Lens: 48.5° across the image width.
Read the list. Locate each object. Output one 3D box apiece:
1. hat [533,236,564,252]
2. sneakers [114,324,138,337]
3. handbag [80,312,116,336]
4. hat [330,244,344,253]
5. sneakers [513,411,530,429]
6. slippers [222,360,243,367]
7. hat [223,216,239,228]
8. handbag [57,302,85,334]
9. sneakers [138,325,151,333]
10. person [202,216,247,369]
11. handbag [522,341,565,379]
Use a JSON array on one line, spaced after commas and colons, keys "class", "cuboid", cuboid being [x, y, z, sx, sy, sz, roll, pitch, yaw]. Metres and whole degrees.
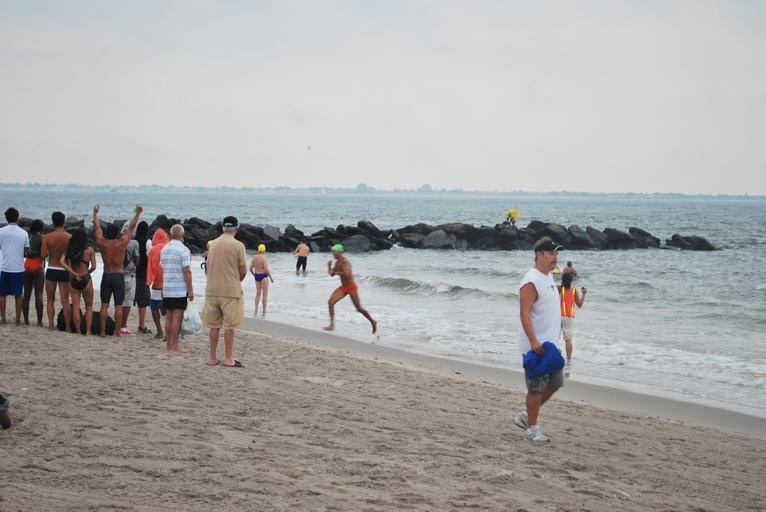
[{"class": "hat", "cuboid": [2.321, -0.172, 11.990, 0.358, 0.176, 0.224, 3, 5, 38]}, {"class": "sneakers", "cuboid": [-4.733, 1.346, 15.689, 0.380, 0.224, 0.134, 0, 11, -11]}, {"class": "handbag", "cuboid": [-5.198, 1.254, 15.563, 0.891, 0.476, 0.284, 6, 2, 41]}, {"class": "hat", "cuboid": [-0.989, -0.152, 18.482, 0.332, 0.138, 0.396, 0, 4, 4]}, {"class": "sneakers", "cuboid": [2.031, 2.391, 12.440, 0.132, 0.158, 0.329, -2, 20, -10]}, {"class": "slippers", "cuboid": [-2.463, 1.797, 14.107, 0.290, 0.084, 0.136, 2, 4, -38]}, {"class": "hat", "cuboid": [-2.480, -0.588, 13.853, 0.206, 0.203, 0.642, 3, 13, -12]}, {"class": "handbag", "cuboid": [-5.644, 1.140, 15.392, 0.331, 0.629, 0.452, -27, -19, 35]}, {"class": "sneakers", "cuboid": [-4.507, 1.408, 16.112, 0.266, 0.113, 0.113, 7, 22, -3]}, {"class": "person", "cuboid": [-2.599, 0.600, 14.100, 0.687, 2.641, 1.067, 3, 14, -12]}, {"class": "handbag", "cuboid": [2.203, 1.456, 11.821, 0.526, 0.529, 0.227, 35, 3, -1]}]
